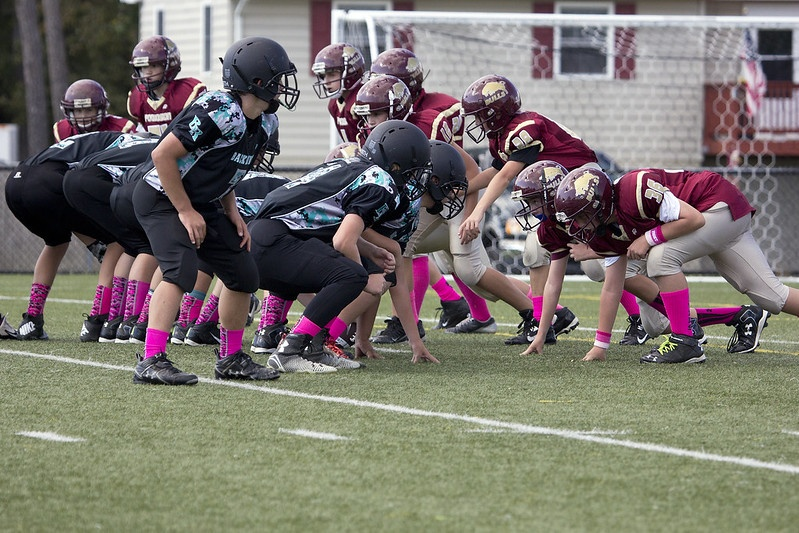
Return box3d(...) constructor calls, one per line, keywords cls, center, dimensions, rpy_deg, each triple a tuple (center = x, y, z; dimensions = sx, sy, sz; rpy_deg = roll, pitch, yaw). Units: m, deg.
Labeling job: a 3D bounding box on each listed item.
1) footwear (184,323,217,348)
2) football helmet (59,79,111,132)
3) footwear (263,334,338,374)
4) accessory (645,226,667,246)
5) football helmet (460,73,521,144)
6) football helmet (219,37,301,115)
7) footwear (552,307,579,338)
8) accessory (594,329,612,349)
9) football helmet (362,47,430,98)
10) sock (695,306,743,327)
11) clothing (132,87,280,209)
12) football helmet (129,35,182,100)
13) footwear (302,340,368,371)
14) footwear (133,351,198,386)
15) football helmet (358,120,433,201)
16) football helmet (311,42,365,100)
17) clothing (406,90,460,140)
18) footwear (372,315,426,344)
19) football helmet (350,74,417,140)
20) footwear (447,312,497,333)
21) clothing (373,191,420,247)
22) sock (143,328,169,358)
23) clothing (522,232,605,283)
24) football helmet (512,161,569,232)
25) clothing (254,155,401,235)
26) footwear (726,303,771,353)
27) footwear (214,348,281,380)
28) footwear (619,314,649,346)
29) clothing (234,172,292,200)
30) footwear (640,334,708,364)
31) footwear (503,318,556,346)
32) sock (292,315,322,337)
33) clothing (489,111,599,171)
box3d(cls="footwear", center=(-1.348, 0.450, 7.073), dimensions=(0.290, 0.121, 0.098), rpy_deg=(-1, 4, -17))
box3d(cls="football helmet", center=(-2.225, -1.052, 7.597), dimensions=(0.318, 0.321, 0.381), rpy_deg=(-7, -8, -10))
box3d(cls="footwear", center=(-0.557, 0.505, 6.229), dimensions=(0.443, 0.224, 0.144), rpy_deg=(10, -3, -25))
box3d(cls="accessory", center=(1.519, -0.175, 6.389), dimensions=(0.088, 0.090, 0.118), rpy_deg=(-8, -8, 1))
box3d(cls="football helmet", center=(0.653, -1.068, 7.315), dimensions=(0.462, 0.385, 0.348), rpy_deg=(-12, 14, 3))
box3d(cls="football helmet", center=(-0.750, -1.038, 5.865), dimensions=(0.450, 0.355, 0.348), rpy_deg=(-3, 15, -32))
box3d(cls="footwear", center=(1.161, 0.393, 7.603), dimensions=(0.152, 0.107, 0.310), rpy_deg=(46, 11, 13))
box3d(cls="accessory", center=(1.266, 0.453, 6.696), dimensions=(0.118, 0.108, 0.106), rpy_deg=(7, 1, 11))
box3d(cls="football helmet", center=(-0.005, -1.348, 7.807), dimensions=(0.385, 0.403, 0.485), rpy_deg=(-7, 13, 18))
box3d(cls="sock", center=(2.112, 0.324, 7.164), dimensions=(0.345, 0.135, 0.105), rpy_deg=(2, 19, 14))
box3d(cls="clothing", center=(-0.941, -0.621, 5.755), dimensions=(0.291, 0.609, 0.587), rpy_deg=(11, 16, 40))
box3d(cls="football helmet", center=(-1.821, -1.511, 8.047), dimensions=(0.330, 0.360, 0.425), rpy_deg=(1, 13, 14))
box3d(cls="footwear", center=(-0.402, 0.537, 6.367), dimensions=(0.379, 0.151, 0.126), rpy_deg=(14, 5, -23))
box3d(cls="footwear", center=(-1.269, 0.549, 5.842), dimensions=(0.398, 0.166, 0.147), rpy_deg=(1, 3, 24))
box3d(cls="football helmet", center=(-0.032, -0.645, 6.288), dimensions=(0.466, 0.384, 0.343), rpy_deg=(8, 13, -12))
box3d(cls="football helmet", center=(-0.441, -1.374, 7.718), dimensions=(0.403, 0.354, 0.300), rpy_deg=(-22, 16, -39))
box3d(cls="clothing", center=(0.262, -1.047, 7.637), dimensions=(0.367, 0.358, 0.278), rpy_deg=(11, -35, 14))
box3d(cls="footwear", center=(0.039, 0.459, 7.627), dimensions=(0.464, 0.191, 0.146), rpy_deg=(0, -3, -19))
box3d(cls="football helmet", center=(-0.093, -1.051, 7.122), dimensions=(0.446, 0.379, 0.340), rpy_deg=(-19, 19, -24))
box3d(cls="footwear", center=(0.545, 0.414, 7.947), dimensions=(0.400, 0.157, 0.128), rpy_deg=(3, -9, -2))
box3d(cls="clothing", center=(-0.027, -0.281, 6.333), dimensions=(0.158, 0.276, 0.219), rpy_deg=(37, 28, 10))
box3d(cls="sock", center=(-1.315, 0.411, 5.816), dimensions=(0.131, 0.177, 0.088), rpy_deg=(-2, 13, -12))
box3d(cls="clothing", center=(1.125, -0.060, 7.398), dimensions=(0.485, 0.576, 0.255), rpy_deg=(-4, -2, 11))
box3d(cls="football helmet", center=(0.903, -0.473, 6.755), dimensions=(0.420, 0.365, 0.320), rpy_deg=(-20, 10, -11))
box3d(cls="clothing", center=(-0.397, -0.417, 6.416), dimensions=(0.932, 0.416, 0.666), rpy_deg=(-5, 18, -15))
box3d(cls="footwear", center=(2.259, 0.407, 7.020), dimensions=(0.186, 0.379, 0.128), rpy_deg=(36, -21, 2))
box3d(cls="footwear", center=(-0.865, 0.554, 6.040), dimensions=(0.413, 0.164, 0.144), rpy_deg=(1, -2, 0))
box3d(cls="footwear", center=(1.642, 0.432, 7.414), dimensions=(0.104, 0.138, 0.319), rpy_deg=(-14, 9, 41))
box3d(cls="clothing", center=(-0.906, -0.523, 7.145), dimensions=(0.266, 0.276, 0.214), rpy_deg=(-8, -2, 16))
box3d(cls="footwear", center=(1.689, 0.509, 6.627), dimensions=(0.478, 0.194, 0.154), rpy_deg=(0, -2, -2))
box3d(cls="footwear", center=(0.830, 0.452, 7.421), dimensions=(0.460, 0.191, 0.143), rpy_deg=(0, -2, -14))
box3d(cls="sock", center=(-0.528, 0.349, 6.202), dimensions=(0.140, 0.111, 0.111), rpy_deg=(31, -6, -26))
box3d(cls="clothing", center=(0.926, -0.822, 7.445), dimensions=(0.787, 0.374, 0.561), rpy_deg=(-5, 2, -19))
